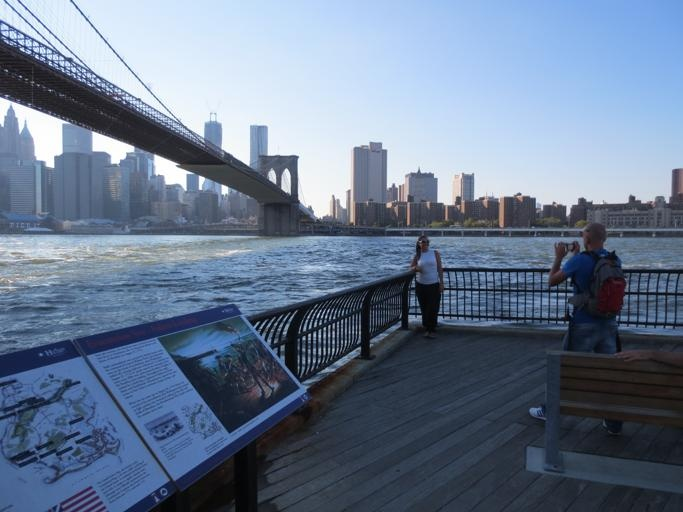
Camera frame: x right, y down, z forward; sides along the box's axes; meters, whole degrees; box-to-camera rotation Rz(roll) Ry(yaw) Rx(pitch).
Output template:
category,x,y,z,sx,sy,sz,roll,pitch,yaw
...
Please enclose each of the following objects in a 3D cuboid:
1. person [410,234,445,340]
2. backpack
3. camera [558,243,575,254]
category,x,y,z,sx,sy,sz,roll,pitch,yaw
person,1.343,0.418,8.521,0.484,1.545,0.795,0,6,8
backpack,2.135,0.226,4.514,0.405,0.543,0.342,0,5,-43
camera,1.950,-0.071,4.694,0.144,0.058,0.142,0,3,11
